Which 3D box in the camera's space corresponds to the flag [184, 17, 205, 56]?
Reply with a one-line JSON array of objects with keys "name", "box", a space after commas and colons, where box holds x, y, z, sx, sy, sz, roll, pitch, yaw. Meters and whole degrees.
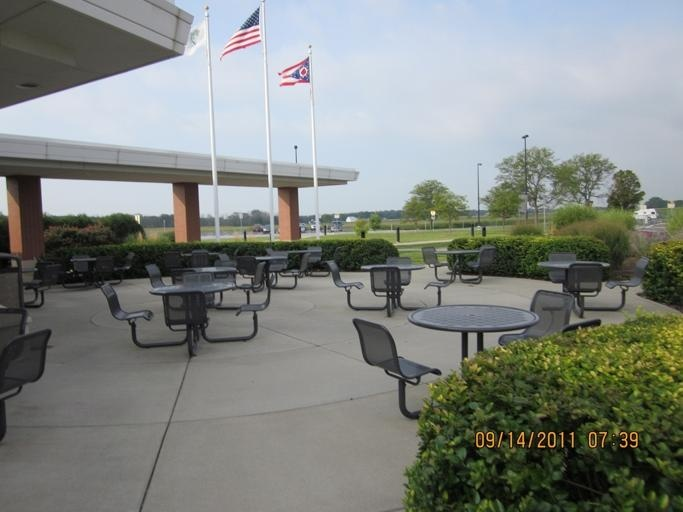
[{"name": "flag", "box": [-5.020, -7.452, 17.716, 0.730, 1.331, 1.291, -4, 5, -14]}]
